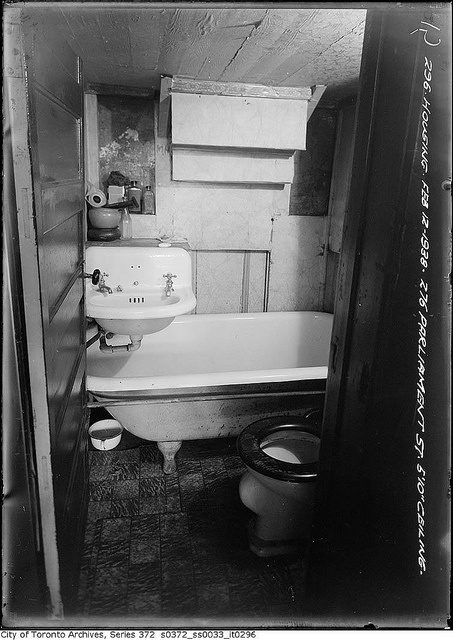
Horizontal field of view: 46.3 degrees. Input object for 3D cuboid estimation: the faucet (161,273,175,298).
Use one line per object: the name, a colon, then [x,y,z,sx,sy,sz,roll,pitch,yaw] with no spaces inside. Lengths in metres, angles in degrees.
faucet: [-0.287,-0.178,2.594,0.050,0.073,0.118,1,27,-4]

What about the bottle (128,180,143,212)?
bottle: [-0.485,-0.650,2.808,0.080,0.170,0.132,0,12,-9]

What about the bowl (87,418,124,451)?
bowl: [-0.497,0.470,2.192,0.139,0.077,0.210,-2,14,-16]

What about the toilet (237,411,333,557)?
toilet: [0.158,0.529,1.859,0.356,0.450,0.349,-3,18,-10]

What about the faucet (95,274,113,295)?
faucet: [-0.556,-0.173,2.457,0.058,0.085,0.127,3,32,-1]

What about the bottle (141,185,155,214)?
bottle: [-0.418,-0.646,2.850,0.074,0.149,0.060,0,12,-10]
